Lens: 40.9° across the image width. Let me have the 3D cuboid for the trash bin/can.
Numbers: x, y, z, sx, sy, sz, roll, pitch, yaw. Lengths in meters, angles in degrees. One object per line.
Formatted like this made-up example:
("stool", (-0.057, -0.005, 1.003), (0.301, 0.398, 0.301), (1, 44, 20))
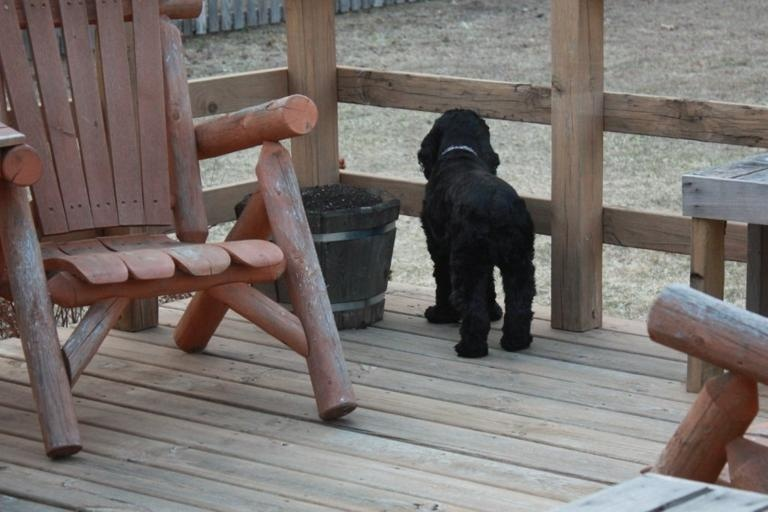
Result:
("trash bin/can", (-0.251, -0.037, 4.543), (0.656, 0.457, 0.626), (-4, 16, -9))
